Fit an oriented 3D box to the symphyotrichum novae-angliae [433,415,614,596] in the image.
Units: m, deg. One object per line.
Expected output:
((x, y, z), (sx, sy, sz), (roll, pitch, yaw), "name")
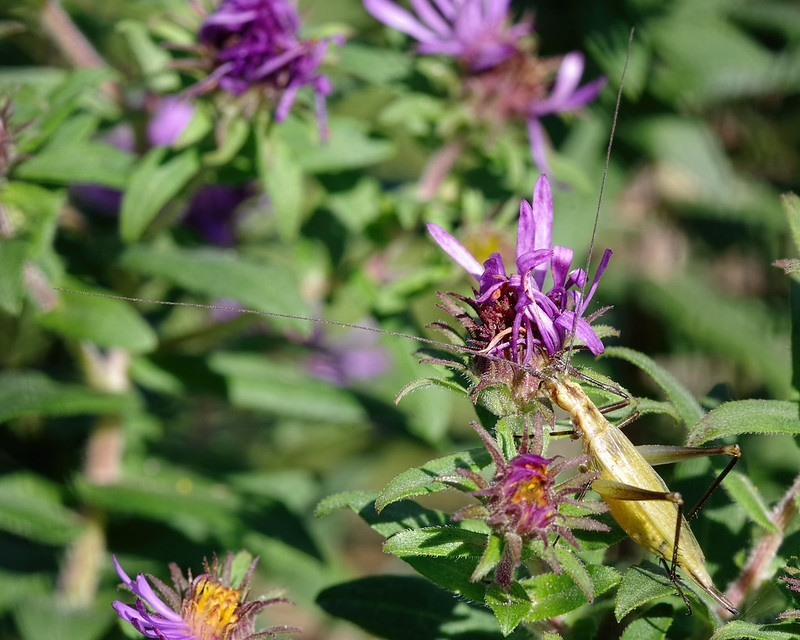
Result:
((0.289, 0.489, 2.558), (0.418, 0.193, 0.431), (-36, 95, -28), "symphyotrichum novae-angliae")

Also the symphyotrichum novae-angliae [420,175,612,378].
((0.377, -0.107, 2.745), (0.458, 0.372, 0.457), (-19, 50, 4), "symphyotrichum novae-angliae")
